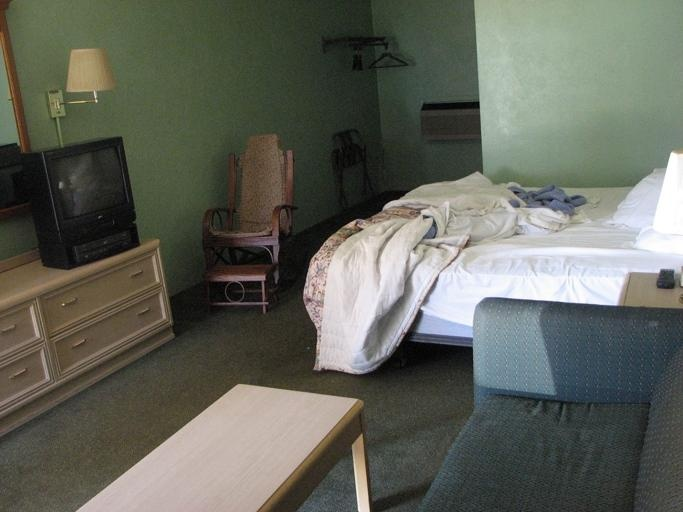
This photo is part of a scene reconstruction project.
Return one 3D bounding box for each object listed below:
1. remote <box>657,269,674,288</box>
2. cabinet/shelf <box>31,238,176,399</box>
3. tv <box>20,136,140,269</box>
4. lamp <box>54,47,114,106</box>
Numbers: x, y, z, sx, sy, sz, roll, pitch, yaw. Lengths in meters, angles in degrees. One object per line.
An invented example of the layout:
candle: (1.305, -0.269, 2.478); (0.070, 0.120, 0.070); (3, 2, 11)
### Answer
remote: (1.421, 0.105, 2.379); (0.066, 0.035, 0.147); (1, 23, 26)
cabinet/shelf: (-1.474, 0.391, 3.276); (0.409, 0.558, 0.768); (6, 27, 35)
tv: (-1.620, -0.300, 3.317); (0.447, 0.828, 0.640); (4, 18, 33)
lamp: (-1.572, -1.164, 3.540); (0.410, 0.398, 0.320); (2, 17, -9)
